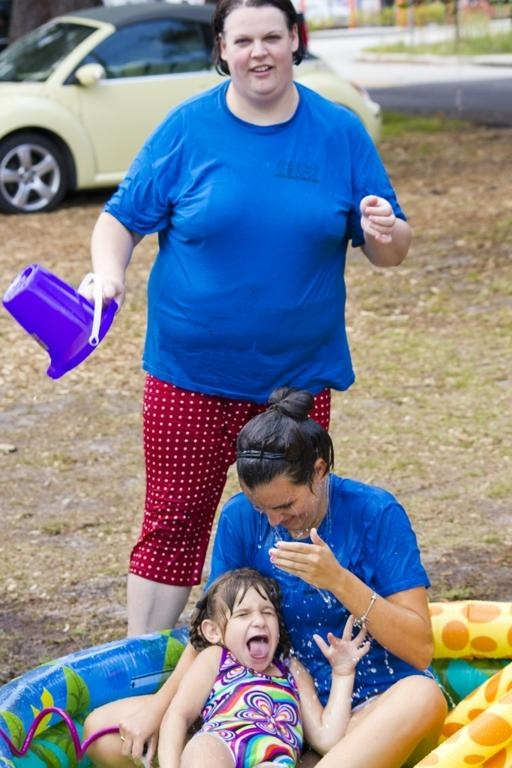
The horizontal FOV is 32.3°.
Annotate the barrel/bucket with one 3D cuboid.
[{"bbox_3d":[-0.449,-0.138,2.054,0.304,0.284,0.159,3,16,32],"label":"barrel/bucket"}]
